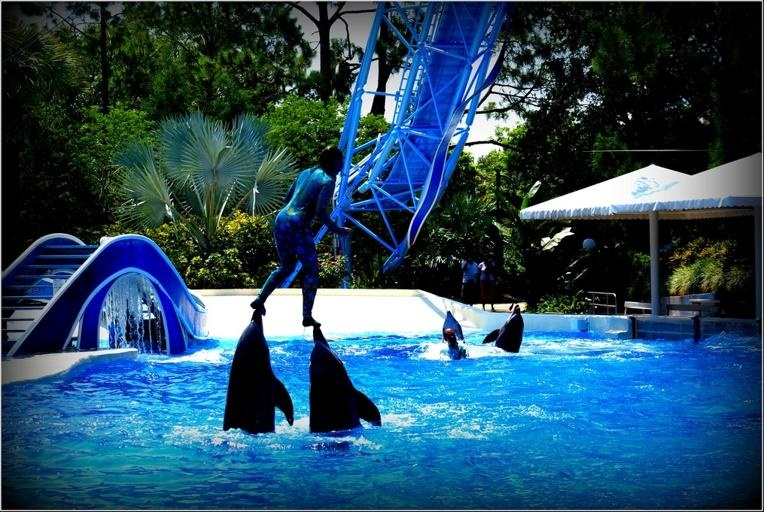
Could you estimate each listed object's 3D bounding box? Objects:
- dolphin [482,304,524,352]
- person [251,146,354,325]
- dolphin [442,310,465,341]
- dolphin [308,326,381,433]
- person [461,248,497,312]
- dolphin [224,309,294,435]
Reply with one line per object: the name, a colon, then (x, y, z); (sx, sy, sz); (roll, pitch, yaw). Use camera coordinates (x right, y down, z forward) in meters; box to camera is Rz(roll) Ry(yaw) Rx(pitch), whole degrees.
dolphin: (2.450, 1.351, 11.338); (0.654, 1.009, 0.944); (-3, 6, -29)
person: (-0.921, -0.186, 7.037); (1.063, 2.222, 1.280); (0, 6, -5)
dolphin: (1.327, 1.283, 11.103); (0.303, 0.781, 0.402); (-7, 43, -4)
dolphin: (-0.423, 1.429, 7.022); (0.904, 1.241, 0.737); (-2, 13, -2)
person: (2.979, 0.775, 18.821); (0.964, 1.579, 2.344); (1, 5, 8)
dolphin: (-1.401, 1.384, 6.887); (0.727, 1.426, 0.433); (1, 6, 19)
